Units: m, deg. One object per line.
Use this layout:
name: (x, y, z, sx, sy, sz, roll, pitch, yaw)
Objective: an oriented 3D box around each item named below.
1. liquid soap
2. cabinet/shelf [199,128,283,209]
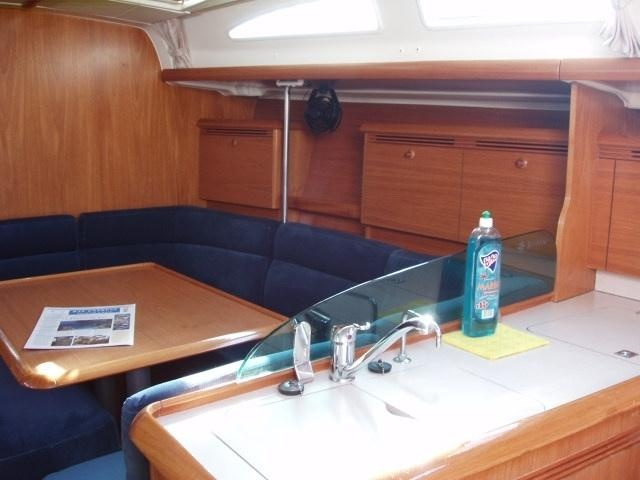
liquid soap: (0.495, 0.099, 1.439, 0.111, 0.381, 0.133, 5, 14, 17)
cabinet/shelf: (-0.542, -0.523, 3.375, 0.634, 0.430, 0.365, 6, 7, 38)
